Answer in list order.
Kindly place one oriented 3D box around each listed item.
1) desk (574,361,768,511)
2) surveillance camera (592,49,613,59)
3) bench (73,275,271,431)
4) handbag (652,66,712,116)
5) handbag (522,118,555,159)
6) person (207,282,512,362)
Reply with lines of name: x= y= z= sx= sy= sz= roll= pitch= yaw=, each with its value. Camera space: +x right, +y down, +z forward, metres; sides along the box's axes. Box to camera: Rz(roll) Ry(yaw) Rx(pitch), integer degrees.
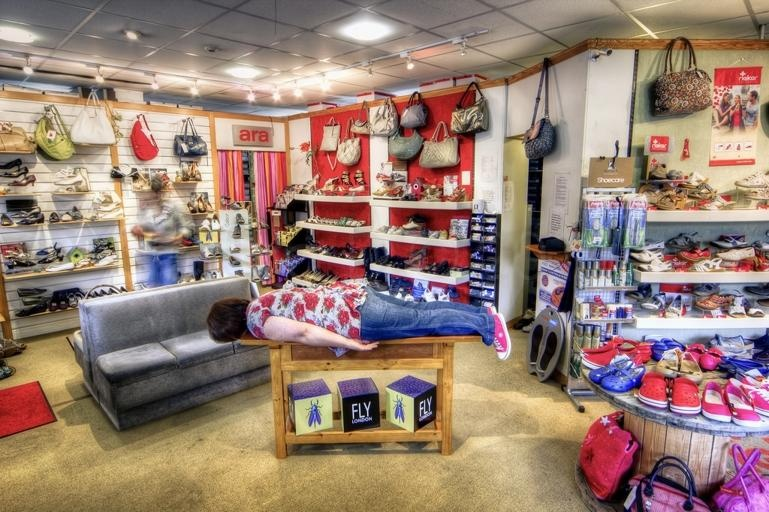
desk: x=2.617 y=1.590 z=4.531 sx=1.410 sy=0.780 sz=1.372 roll=-6 pitch=10 yaw=-40
surveillance camera: x=2.429 y=-2.272 z=5.685 sx=0.156 sy=0.058 sz=0.146 roll=-18 pitch=15 yaw=-14
bench: x=-2.574 y=1.076 z=5.942 sx=1.999 sy=1.040 sz=1.879 roll=-9 pitch=10 yaw=-40
handbag: x=3.248 y=-1.836 z=5.609 sx=0.606 sy=0.457 sz=0.218 roll=-4 pitch=8 yaw=1
handbag: x=1.866 y=-1.457 z=6.249 sx=0.353 sy=0.468 sz=0.212 roll=2 pitch=9 yaw=24
person: x=-0.338 y=0.543 z=5.153 sx=3.149 sy=0.662 sz=1.006 roll=-1 pitch=8 yaw=1
